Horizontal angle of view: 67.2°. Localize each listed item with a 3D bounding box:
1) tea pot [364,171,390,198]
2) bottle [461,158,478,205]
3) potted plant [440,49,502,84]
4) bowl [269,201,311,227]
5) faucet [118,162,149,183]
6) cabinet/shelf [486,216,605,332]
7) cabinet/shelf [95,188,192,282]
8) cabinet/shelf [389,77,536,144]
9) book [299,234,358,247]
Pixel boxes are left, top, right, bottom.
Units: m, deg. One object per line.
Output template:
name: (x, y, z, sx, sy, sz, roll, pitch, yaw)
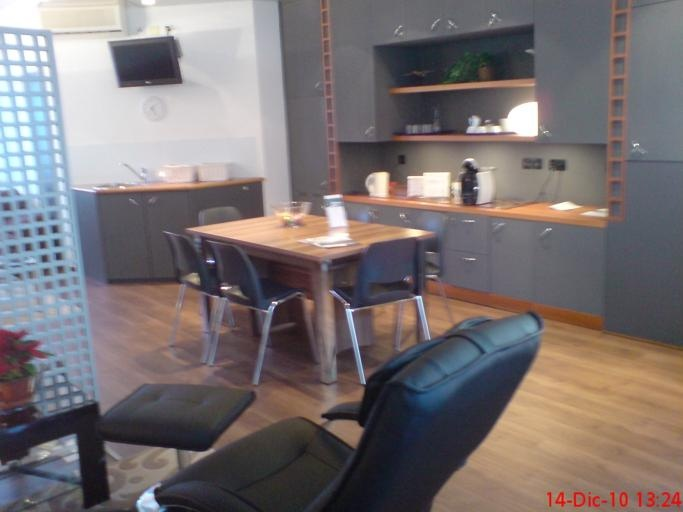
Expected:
tea pot: (0.393, -0.786, 5.659, 0.247, 0.263, 0.199, 2, 13, 9)
bottle: (1.221, -0.707, 4.937, 0.195, 0.425, 0.135, 6, 15, 23)
potted plant: (1.266, -1.888, 5.148, 0.535, 0.298, 0.198, 10, 17, 38)
bowl: (-0.423, -0.354, 4.282, 0.245, 0.141, 0.235, -5, 2, 0)
faucet: (-2.622, -1.065, 6.525, 0.231, 0.249, 0.498, -7, 15, -28)
cabinet/shelf: (1.675, 0.115, 4.125, 0.317, 0.725, 0.922, -10, 13, -41)
cabinet/shelf: (-2.216, -0.280, 5.730, 1.097, 1.017, 0.411, -4, 5, -23)
cabinet/shelf: (1.266, -1.481, 5.279, 0.462, 0.588, 1.721, -12, 17, -42)
book: (-0.076, -0.107, 3.629, 0.335, 0.029, 0.372, -10, 16, -38)
